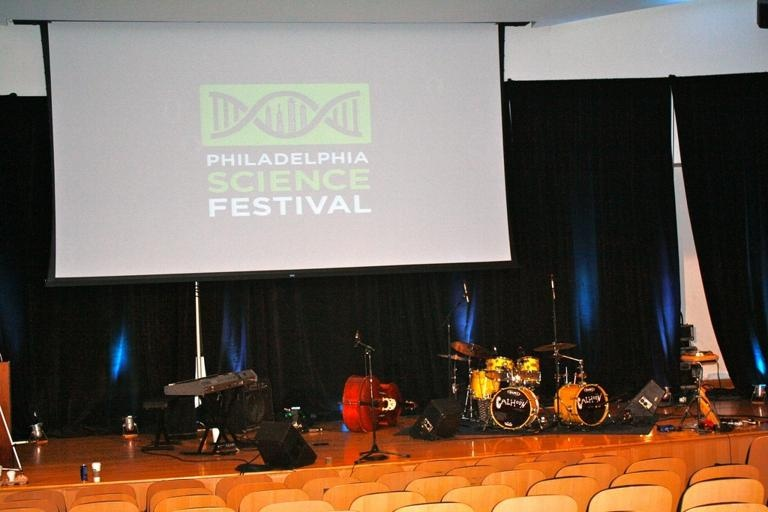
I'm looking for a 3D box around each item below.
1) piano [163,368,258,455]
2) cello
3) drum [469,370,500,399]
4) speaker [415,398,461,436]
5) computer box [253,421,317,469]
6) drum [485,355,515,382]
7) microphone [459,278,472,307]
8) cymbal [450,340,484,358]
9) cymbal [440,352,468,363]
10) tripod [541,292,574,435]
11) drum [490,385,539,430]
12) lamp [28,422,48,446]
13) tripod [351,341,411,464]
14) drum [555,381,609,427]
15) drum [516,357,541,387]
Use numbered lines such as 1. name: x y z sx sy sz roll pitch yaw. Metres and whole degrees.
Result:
1. piano: -1.877 1.356 8.304 0.728 1.072 1.374 2 2 38
2. cello: -0.080 1.711 8.887 0.724 0.770 0.860 1 0 -25
3. drum: 1.176 1.521 8.846 0.339 0.336 0.348 1 -4 -12
4. speaker: 0.609 1.785 8.238 0.307 0.295 0.229 30 10 -47
5. computer box: -0.958 1.831 7.383 0.565 0.451 0.555 -3 -3 -4
6. drum: 1.340 1.300 8.662 0.312 0.190 0.300 1 -6 0
7. microphone: 1.082 0.487 9.881 0.108 0.341 0.173 -4 -1 23
8. cymbal: 0.974 1.074 8.575 0.255 0.064 0.259 12 2 -5
9. cymbal: 0.894 1.254 9.181 0.223 0.055 0.225 1 -1 -23
10. tripod: 2.180 1.335 9.490 0.341 1.795 0.426 -2 5 5
11. drum: 1.446 1.699 8.346 0.547 0.490 0.286 -4 -1 17
12. lamp: -4.160 2.150 8.996 0.214 0.235 0.218 -2 -7 -13
13. tripod: -0.105 1.644 8.359 0.414 1.370 0.495 3 0 -26
14. drum: 2.222 1.649 8.315 0.539 0.482 0.440 1 0 5
15. drum: 1.632 1.307 8.661 0.328 0.323 0.332 -16 -25 37
